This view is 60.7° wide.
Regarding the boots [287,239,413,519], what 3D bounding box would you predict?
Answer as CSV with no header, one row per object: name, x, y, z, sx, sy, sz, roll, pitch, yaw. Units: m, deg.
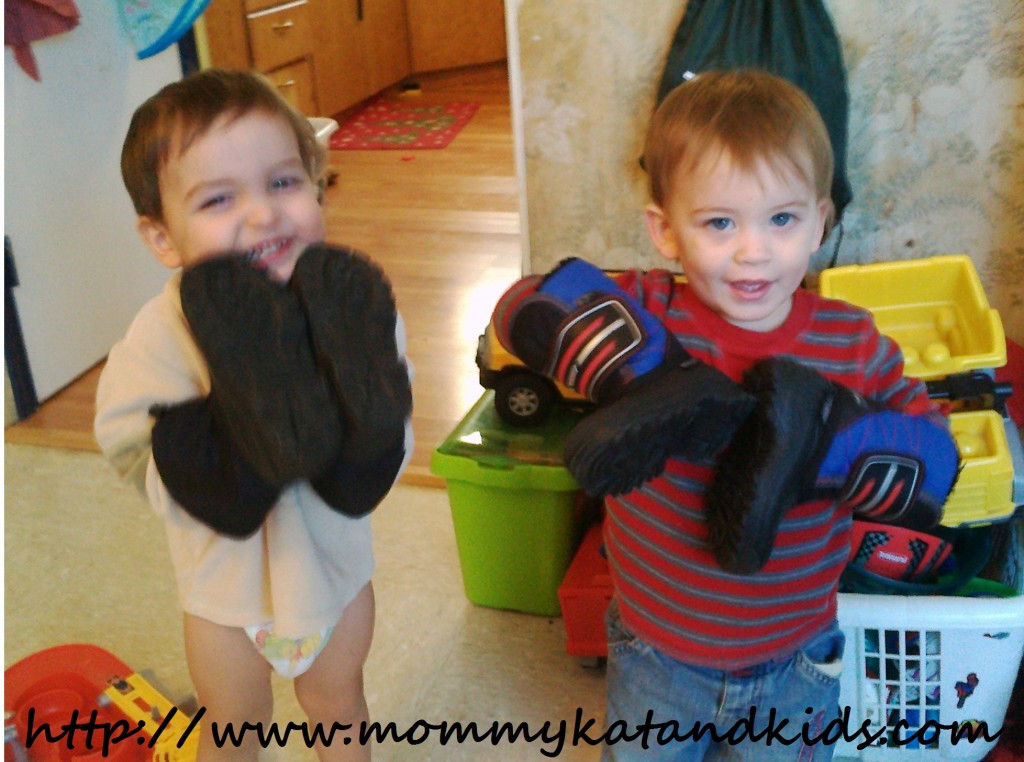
boots,-0.166,-0.005,0.961,0.131,0.267,0.107,-10,15,-18

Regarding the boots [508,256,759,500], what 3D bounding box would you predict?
boots,0.155,-0.051,1.040,0.428,0.195,0.151,4,16,33

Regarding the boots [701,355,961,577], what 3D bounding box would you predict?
boots,0.400,0.067,1.103,0.448,0.150,0.188,-11,24,-28

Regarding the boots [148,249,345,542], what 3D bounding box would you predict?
boots,-0.298,0.017,0.995,0.188,0.301,0.121,-15,30,-11
